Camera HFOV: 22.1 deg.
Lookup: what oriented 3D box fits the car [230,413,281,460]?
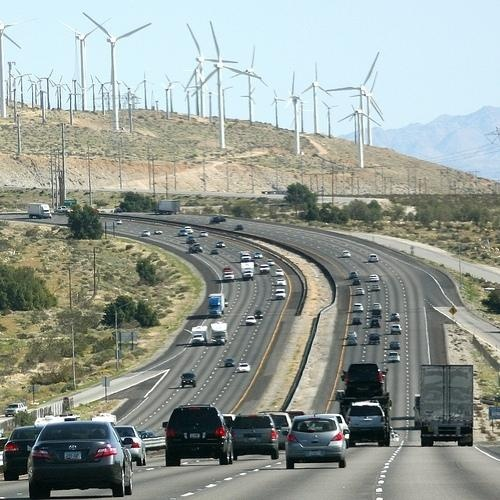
[{"bbox_3d":[0.219,7.526,51.642,1.907,1.663,2.493,-2,-6,-1],"label":"car"}]

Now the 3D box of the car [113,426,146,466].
[{"bbox_3d":[-4.632,7.563,49.460,1.308,1.065,3.106,0,5,2],"label":"car"}]

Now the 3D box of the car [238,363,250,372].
[{"bbox_3d":[-0.413,10.025,108.362,1.170,0.590,1.605,0,3,-1],"label":"car"}]

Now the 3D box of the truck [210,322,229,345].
[{"bbox_3d":[-2.860,7.942,120.920,1.256,1.124,2.179,0,4,3],"label":"truck"}]

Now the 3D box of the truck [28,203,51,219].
[{"bbox_3d":[-30.478,-5.467,186.513,1.711,1.740,3.591,-4,5,-40],"label":"truck"}]

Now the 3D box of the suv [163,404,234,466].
[{"bbox_3d":[-1.823,6.582,45.753,2.421,2.069,3.521,-2,-7,2],"label":"suv"}]

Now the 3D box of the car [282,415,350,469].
[{"bbox_3d":[2.345,6.784,44.696,2.116,1.732,1.304,1,4,10],"label":"car"}]

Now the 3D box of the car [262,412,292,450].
[{"bbox_3d":[1.318,7.989,56.120,1.198,0.997,2.081,1,10,2],"label":"car"}]

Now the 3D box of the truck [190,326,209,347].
[{"bbox_3d":[-4.753,8.173,121.345,1.118,1.246,2.320,0,1,4],"label":"truck"}]

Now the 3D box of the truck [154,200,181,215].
[{"bbox_3d":[-12.988,-6.731,207.100,3.487,2.341,2.583,-1,4,-14],"label":"truck"}]

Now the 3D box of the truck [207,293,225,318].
[{"bbox_3d":[-3.448,5.920,132.979,1.428,2.251,2.239,0,4,6],"label":"truck"}]
